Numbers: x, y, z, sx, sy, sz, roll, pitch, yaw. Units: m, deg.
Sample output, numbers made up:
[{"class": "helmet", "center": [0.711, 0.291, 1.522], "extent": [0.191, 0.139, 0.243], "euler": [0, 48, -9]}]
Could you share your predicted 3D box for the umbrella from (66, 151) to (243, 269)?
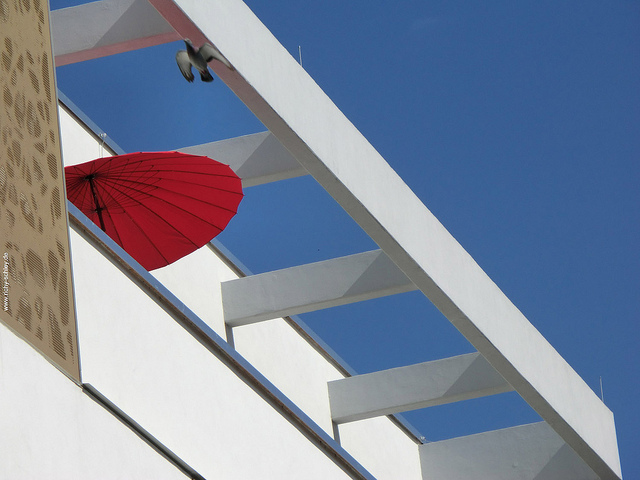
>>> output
[{"class": "umbrella", "center": [-1.174, -0.224, 12.137], "extent": [1.218, 0.409, 0.978], "euler": [-8, -34, -10]}]

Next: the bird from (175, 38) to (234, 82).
[{"class": "bird", "center": [-0.765, -1.118, 10.686], "extent": [0.398, 0.178, 0.300], "euler": [-12, -29, 37]}]
